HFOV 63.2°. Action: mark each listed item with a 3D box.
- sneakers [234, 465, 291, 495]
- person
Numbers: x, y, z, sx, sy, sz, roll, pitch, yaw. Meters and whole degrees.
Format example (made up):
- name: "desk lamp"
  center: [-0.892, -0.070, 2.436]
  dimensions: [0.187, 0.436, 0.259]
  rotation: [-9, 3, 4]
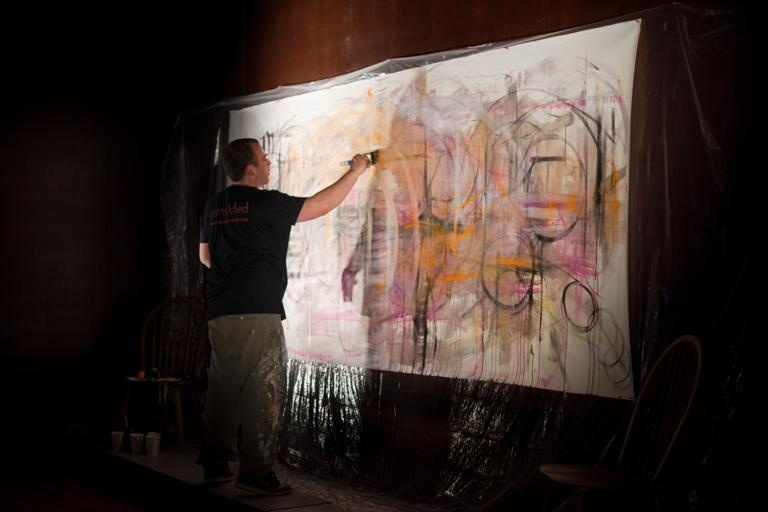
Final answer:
- name: "sneakers"
  center: [-0.640, 1.188, 3.333]
  dimensions: [0.287, 0.139, 0.128]
  rotation: [9, -6, -9]
- name: "person"
  center: [-0.700, 0.318, 3.418]
  dimensions: [0.815, 1.786, 0.342]
  rotation: [5, -2, 26]
